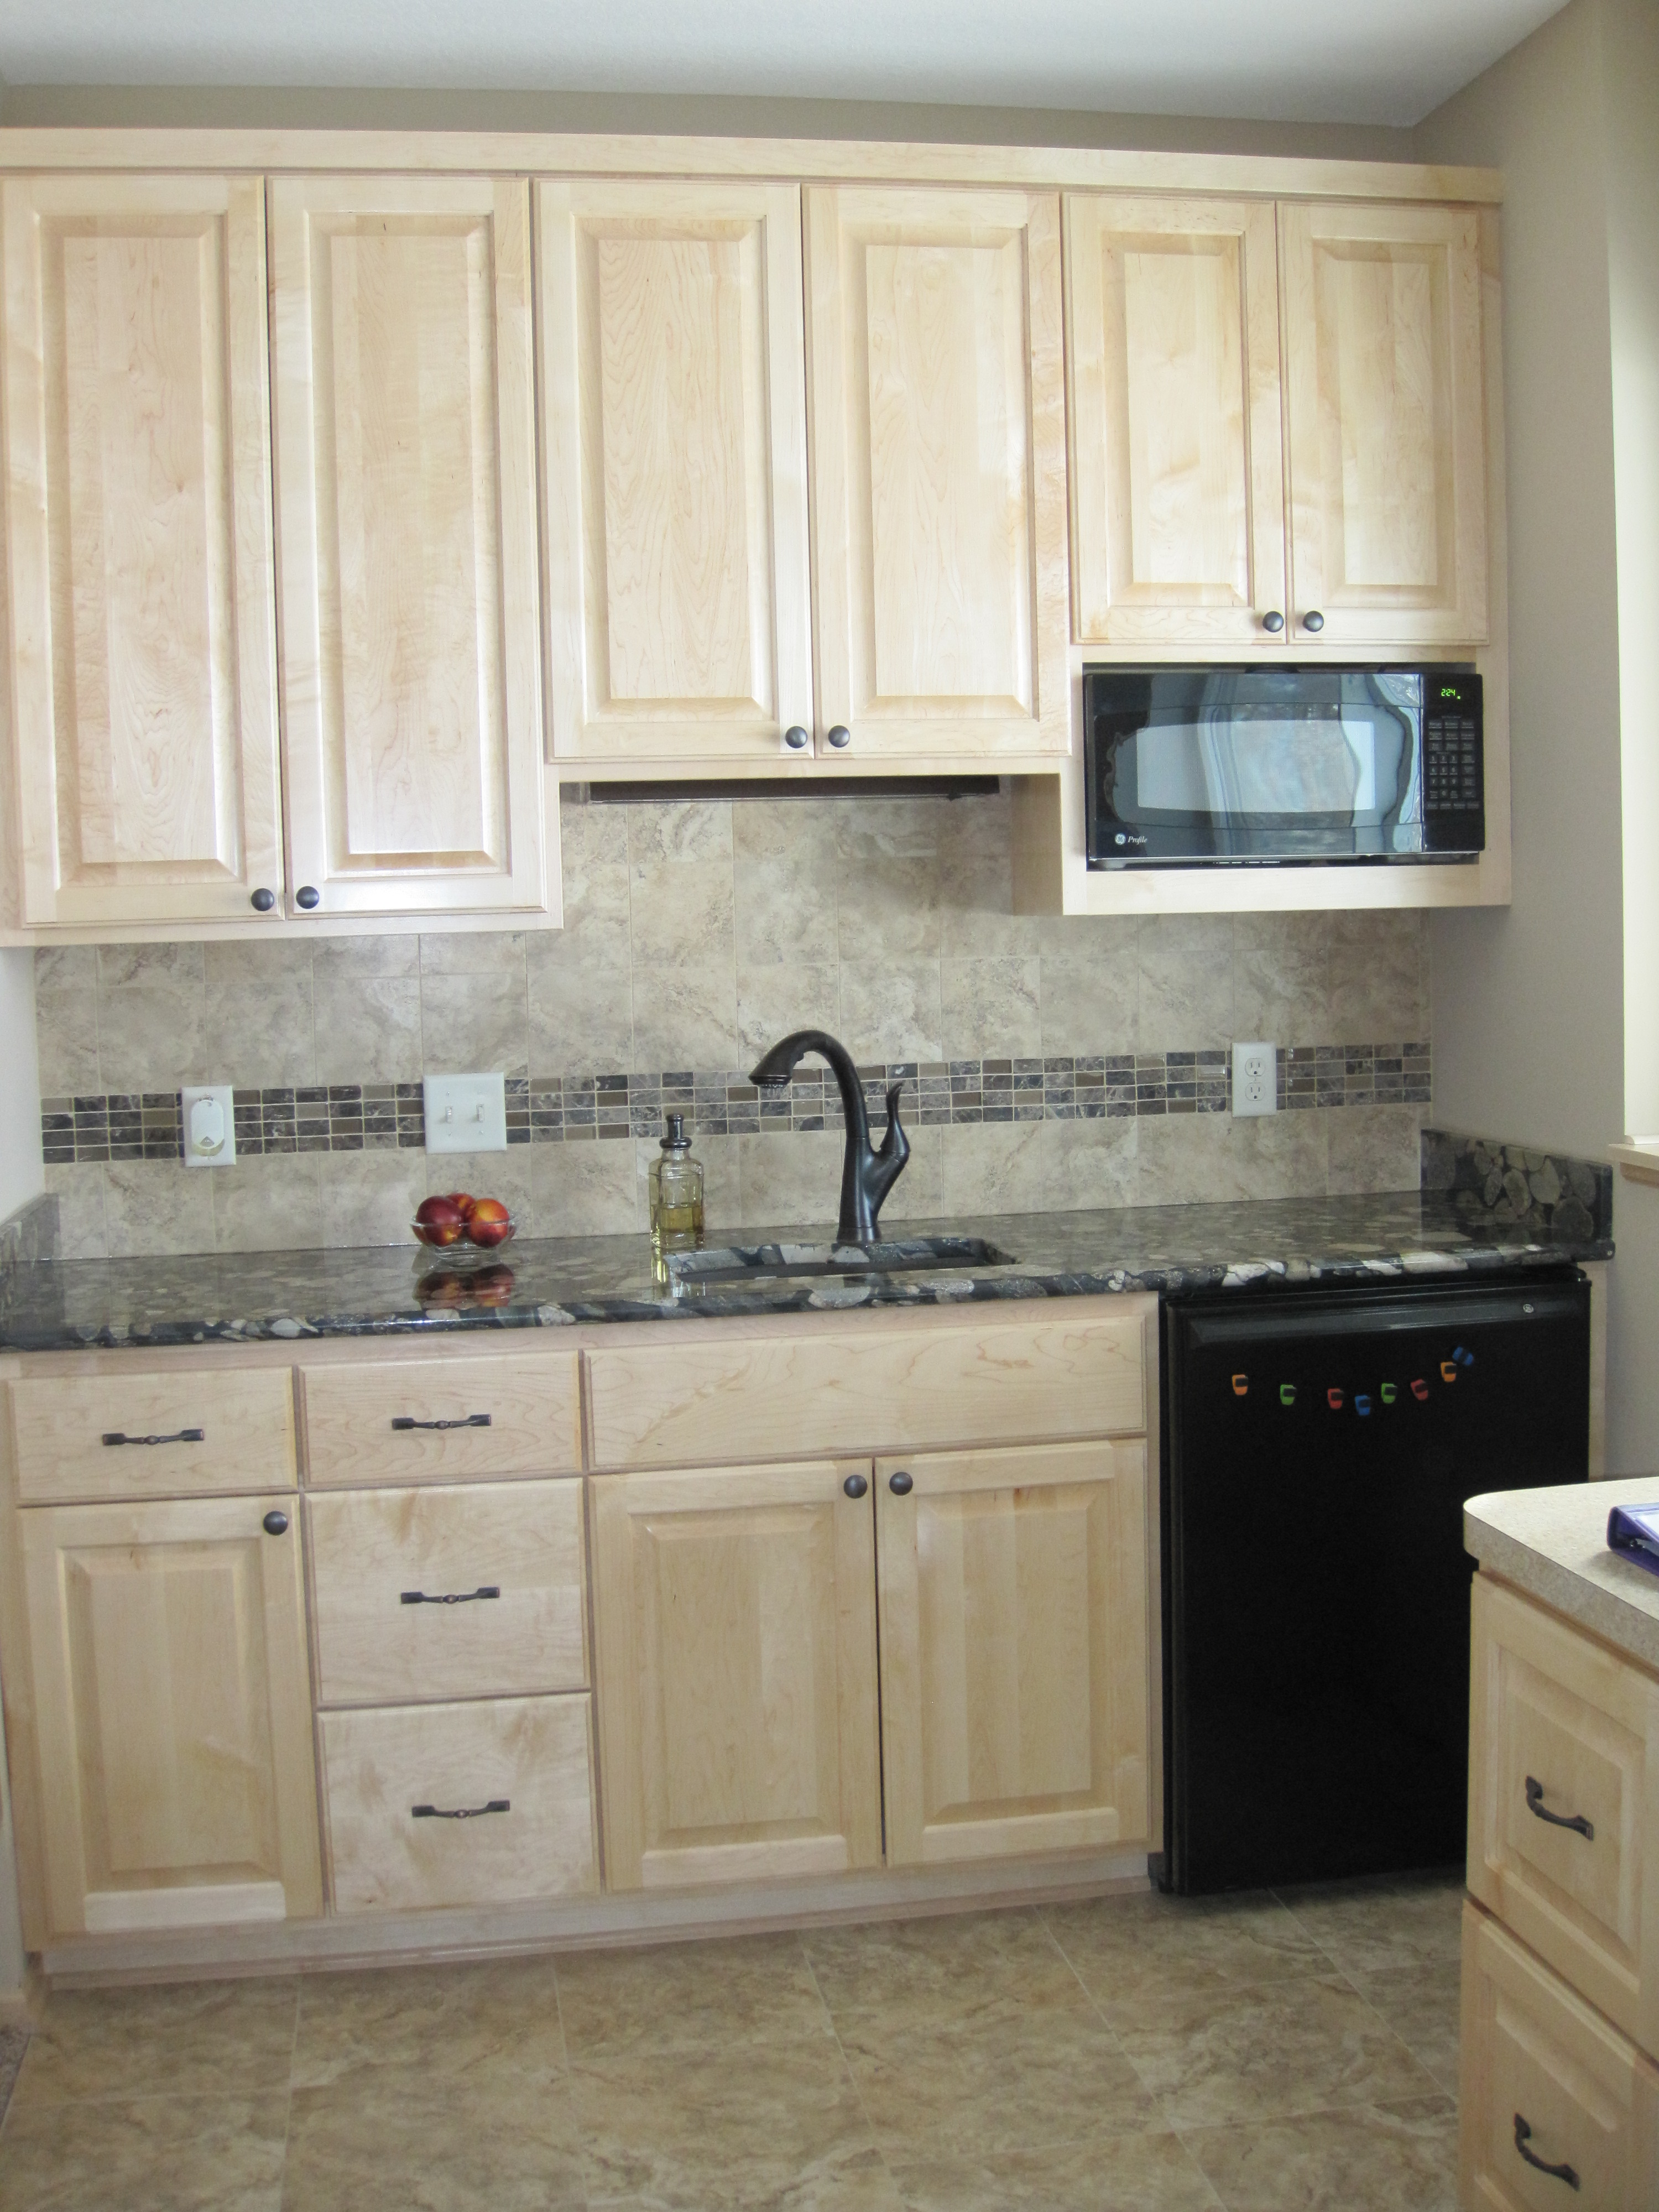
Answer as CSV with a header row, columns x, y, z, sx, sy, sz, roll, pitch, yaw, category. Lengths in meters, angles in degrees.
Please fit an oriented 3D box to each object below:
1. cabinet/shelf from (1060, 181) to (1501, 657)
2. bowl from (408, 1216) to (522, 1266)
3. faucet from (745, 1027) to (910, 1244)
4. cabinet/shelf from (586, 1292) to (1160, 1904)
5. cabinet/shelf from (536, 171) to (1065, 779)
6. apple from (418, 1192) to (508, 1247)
x,y,z,sx,sy,sz,roll,pitch,yaw,category
0.588,-0.953,2.743,0.699,0.627,0.327,-1,2,-10,cabinet/shelf
-0.508,0.177,2.797,0.093,0.046,0.082,-3,-7,8,bowl
0.005,0.040,2.877,0.218,0.309,0.329,-1,8,1,faucet
0.113,0.638,2.654,0.810,0.719,0.406,-9,-17,19,cabinet/shelf
-0.064,-0.851,2.633,0.834,0.866,0.464,-1,3,-7,cabinet/shelf
-0.507,0.153,2.778,0.094,0.048,0.078,2,-4,-26,apple
